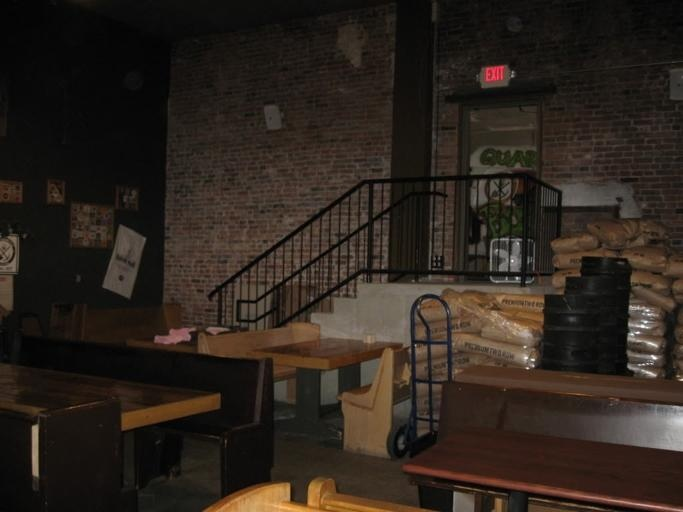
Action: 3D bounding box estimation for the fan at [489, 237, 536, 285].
[{"bbox_3d":[2.233,0.033,8.601,0.701,0.728,0.166,-1,-6,26],"label":"fan"}]
